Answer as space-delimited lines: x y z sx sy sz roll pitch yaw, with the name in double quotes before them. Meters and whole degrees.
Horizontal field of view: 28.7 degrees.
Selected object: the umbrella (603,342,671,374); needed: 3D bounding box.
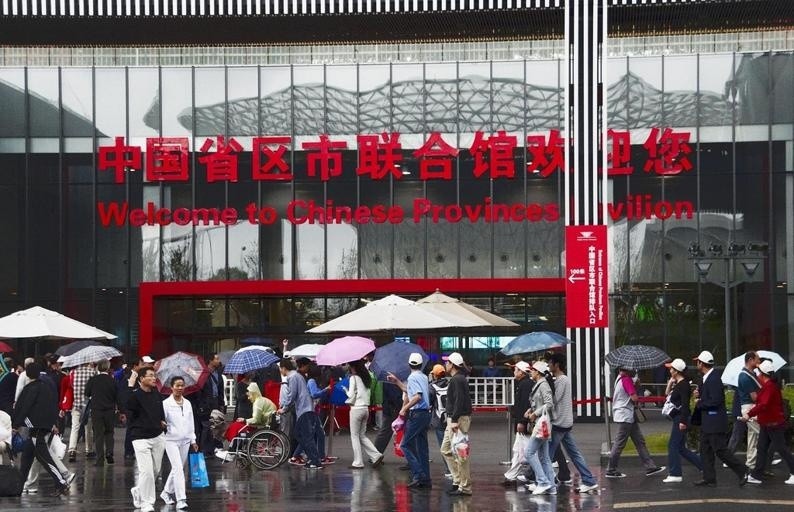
"umbrella" 7.483 3.224 48.738 1.594 0.984 1.556 3 0 2
